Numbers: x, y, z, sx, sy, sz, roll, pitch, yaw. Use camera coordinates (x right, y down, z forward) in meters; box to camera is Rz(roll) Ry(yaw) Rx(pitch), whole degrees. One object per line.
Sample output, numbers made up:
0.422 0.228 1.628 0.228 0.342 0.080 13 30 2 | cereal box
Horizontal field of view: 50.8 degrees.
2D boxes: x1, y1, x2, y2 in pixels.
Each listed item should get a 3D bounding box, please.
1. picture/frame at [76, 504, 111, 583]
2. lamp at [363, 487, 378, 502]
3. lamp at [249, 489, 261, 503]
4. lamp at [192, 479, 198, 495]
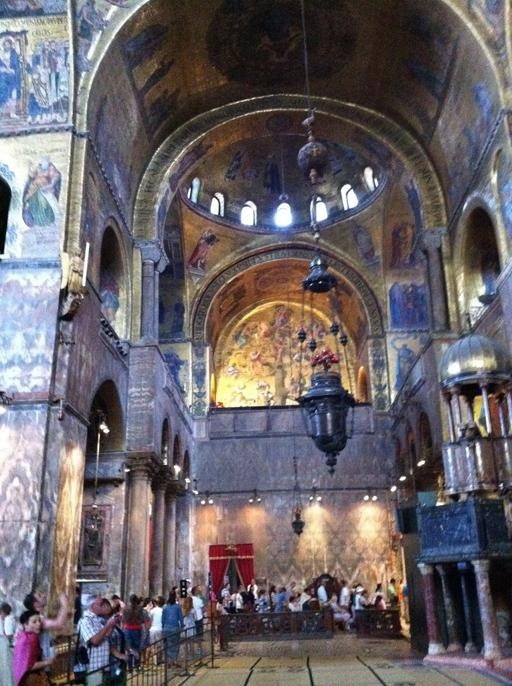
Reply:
-3.188 3.923 10.678 0.553 1.410 0.330 4 -21 -18 | picture/frame
4.136 5.493 19.472 0.530 0.487 0.200 1 -20 -12 | lamp
-0.002 5.562 19.717 0.471 0.580 0.435 0 -3 12 | lamp
-2.208 5.197 19.492 0.116 0.566 0.507 -7 -21 12 | lamp
